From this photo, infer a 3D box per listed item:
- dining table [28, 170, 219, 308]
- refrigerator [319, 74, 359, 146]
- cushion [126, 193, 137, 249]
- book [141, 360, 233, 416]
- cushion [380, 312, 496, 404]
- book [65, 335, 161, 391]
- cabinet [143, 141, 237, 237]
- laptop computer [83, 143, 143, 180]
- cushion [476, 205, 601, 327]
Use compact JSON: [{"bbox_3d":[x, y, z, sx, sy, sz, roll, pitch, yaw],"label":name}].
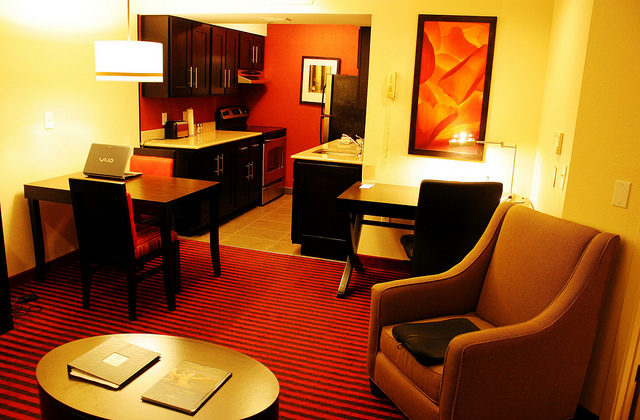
[{"bbox_3d":[-1.827,0.173,4.472,1.571,0.856,0.887,6,16,14],"label":"dining table"},{"bbox_3d":[0.215,-1.442,6.809,0.338,0.954,0.899,-5,17,-26],"label":"refrigerator"},{"bbox_3d":[-1.513,0.070,3.807,0.054,0.471,0.220,-3,16,-20],"label":"cushion"},{"bbox_3d":[-0.730,0.961,2.610,0.315,0.090,0.358,9,16,23],"label":"book"},{"bbox_3d":[0.742,0.877,2.936,0.499,0.120,0.513,-8,12,-23],"label":"cushion"},{"bbox_3d":[-1.187,0.876,2.723,0.391,0.095,0.355,10,16,24],"label":"book"},{"bbox_3d":[-1.394,-0.241,4.957,0.595,0.934,1.034,3,11,17],"label":"cabinet"},{"bbox_3d":[-1.895,-0.454,4.417,0.440,0.295,0.386,7,6,9],"label":"laptop computer"},{"bbox_3d":[1.379,0.364,2.968,0.453,0.790,0.583,-6,18,-28],"label":"cushion"}]
